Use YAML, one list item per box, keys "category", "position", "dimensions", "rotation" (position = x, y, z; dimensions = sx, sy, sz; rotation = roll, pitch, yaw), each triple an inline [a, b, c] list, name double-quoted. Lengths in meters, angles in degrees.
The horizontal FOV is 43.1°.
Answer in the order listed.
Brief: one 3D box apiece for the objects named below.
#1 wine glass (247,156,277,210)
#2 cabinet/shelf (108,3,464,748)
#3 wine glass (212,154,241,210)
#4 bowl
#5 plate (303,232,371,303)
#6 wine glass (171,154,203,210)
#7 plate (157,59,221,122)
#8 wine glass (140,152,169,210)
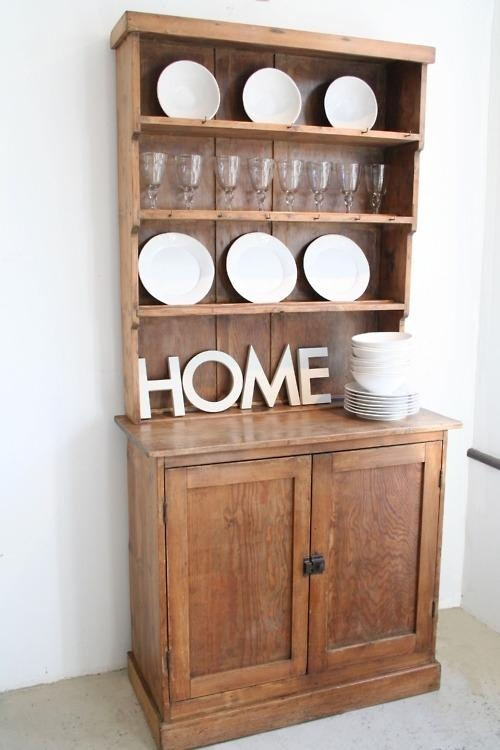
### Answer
- category: "wine glass"
  position: [0.033, -0.553, 1.927]
  dimensions: [0.069, 0.219, 0.071]
  rotation: [-4, 31, -4]
- category: "cabinet/shelf"
  position: [0.105, 0.018, 1.967]
  dimensions: [1.001, 2.051, 0.539]
  rotation: [-4, 9, -22]
- category: "wine glass"
  position: [-0.069, -0.592, 1.911]
  dimensions: [0.068, 0.170, 0.222]
  rotation: [0, 9, -2]
- category: "bowl"
  position: [0.417, -0.050, 1.987]
  dimensions: [0.163, 0.179, 0.209]
  rotation: [-2, 6, -2]
- category: "plate"
  position: [0.299, -0.359, 2.170]
  dimensions: [0.213, 0.257, 0.033]
  rotation: [-14, 9, -25]
- category: "wine glass"
  position: [-0.179, -0.558, 1.835]
  dimensions: [0.084, 0.178, 0.096]
  rotation: [2, 30, 0]
- category: "plate"
  position: [-0.159, -0.830, 1.856]
  dimensions: [0.222, 0.160, 0.085]
  rotation: [-7, 11, -37]
- category: "wine glass"
  position: [-0.282, -0.569, 1.837]
  dimensions: [0.066, 0.165, 0.201]
  rotation: [-2, 9, -10]
